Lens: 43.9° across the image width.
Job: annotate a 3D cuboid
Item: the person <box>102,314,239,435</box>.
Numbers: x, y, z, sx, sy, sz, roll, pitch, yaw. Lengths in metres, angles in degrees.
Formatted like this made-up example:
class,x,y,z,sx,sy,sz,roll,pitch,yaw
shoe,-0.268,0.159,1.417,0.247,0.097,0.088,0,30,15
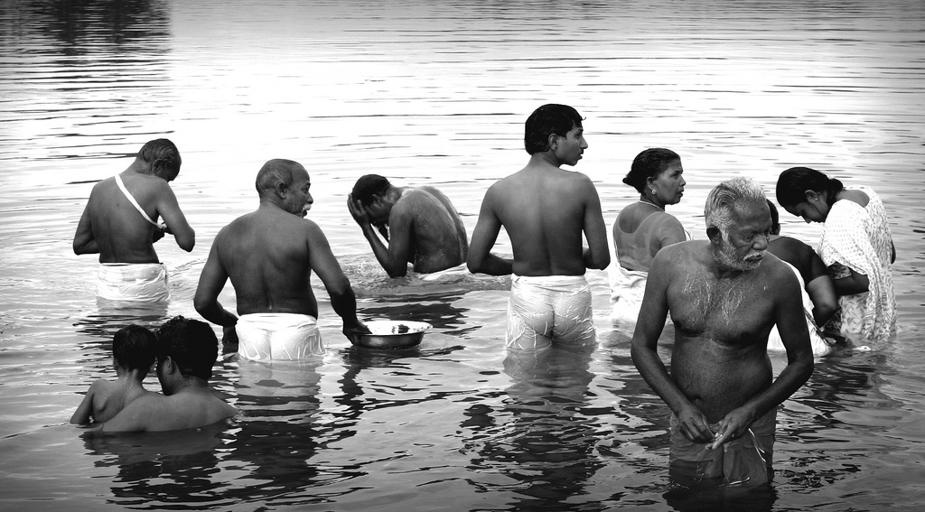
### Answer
class,x,y,z,sx,sy,sz,roll,pitch,yaw
person,-3.592,1.500,13.995,1.166,1.272,2.243,6,-1,13

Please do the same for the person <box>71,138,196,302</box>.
class,x,y,z,sx,sy,sz,roll,pitch,yaw
person,-4.740,-0.478,16.584,1.673,2.360,0.597,-1,9,-5

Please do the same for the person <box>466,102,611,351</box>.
class,x,y,z,sx,sy,sz,roll,pitch,yaw
person,1.039,-0.328,14.964,1.685,3.248,0.509,0,9,1

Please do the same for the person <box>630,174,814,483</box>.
class,x,y,z,sx,sy,sz,roll,pitch,yaw
person,2.879,0.875,12.730,1.853,3.453,0.556,1,9,12
